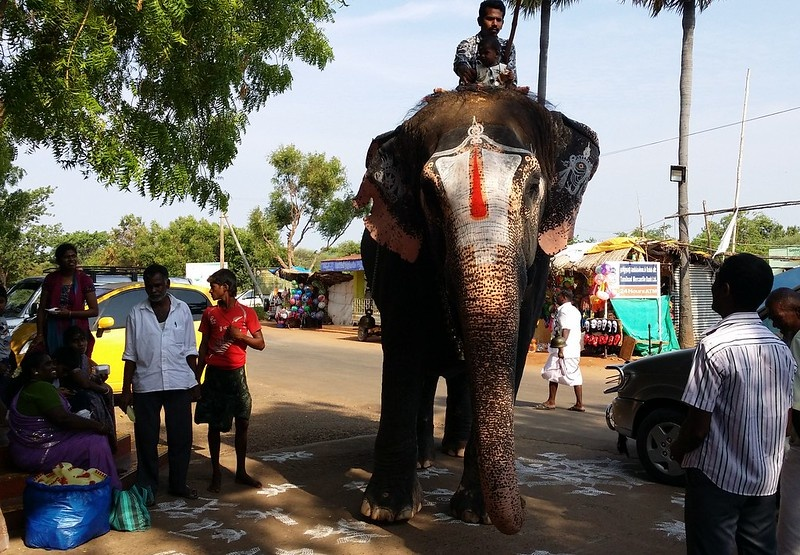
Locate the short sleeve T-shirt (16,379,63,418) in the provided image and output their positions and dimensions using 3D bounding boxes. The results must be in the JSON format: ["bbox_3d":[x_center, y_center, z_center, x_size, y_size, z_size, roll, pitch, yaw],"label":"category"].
[{"bbox_3d":[-3.168,0.971,5.941,0.450,0.291,0.273,-2,-2,42],"label":"short sleeve T-shirt"}]

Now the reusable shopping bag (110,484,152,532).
[{"bbox_3d":[-2.331,2.025,5.862,0.277,0.180,0.345,2,-7,-17],"label":"reusable shopping bag"}]

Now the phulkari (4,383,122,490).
[{"bbox_3d":[-3.044,1.472,5.977,0.593,1.396,0.541,0,0,1],"label":"phulkari"}]

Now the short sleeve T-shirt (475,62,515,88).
[{"bbox_3d":[0.759,-1.656,5.502,0.287,0.288,0.118,0,1,13],"label":"short sleeve T-shirt"}]

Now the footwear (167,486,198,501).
[{"bbox_3d":[-2.060,2.073,6.435,0.318,0.121,0.112,0,-4,8],"label":"footwear"}]

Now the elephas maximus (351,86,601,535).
[{"bbox_3d":[0.529,-0.023,5.280,1.837,3.783,1.650,2,0,6],"label":"elephas maximus"}]

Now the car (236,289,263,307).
[{"bbox_3d":[-7.713,1.066,35.168,1.112,0.954,1.851,-2,-11,13],"label":"car"}]

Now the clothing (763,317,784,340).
[{"bbox_3d":[2.854,0.390,5.145,0.187,0.068,0.143,35,-12,42],"label":"clothing"}]

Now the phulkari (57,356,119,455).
[{"bbox_3d":[-3.068,1.078,6.629,0.652,1.018,0.793,-4,8,-28],"label":"phulkari"}]

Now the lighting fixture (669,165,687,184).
[{"bbox_3d":[7.645,-2.880,18.563,0.345,0.480,1.402,2,1,23],"label":"lighting fixture"}]
